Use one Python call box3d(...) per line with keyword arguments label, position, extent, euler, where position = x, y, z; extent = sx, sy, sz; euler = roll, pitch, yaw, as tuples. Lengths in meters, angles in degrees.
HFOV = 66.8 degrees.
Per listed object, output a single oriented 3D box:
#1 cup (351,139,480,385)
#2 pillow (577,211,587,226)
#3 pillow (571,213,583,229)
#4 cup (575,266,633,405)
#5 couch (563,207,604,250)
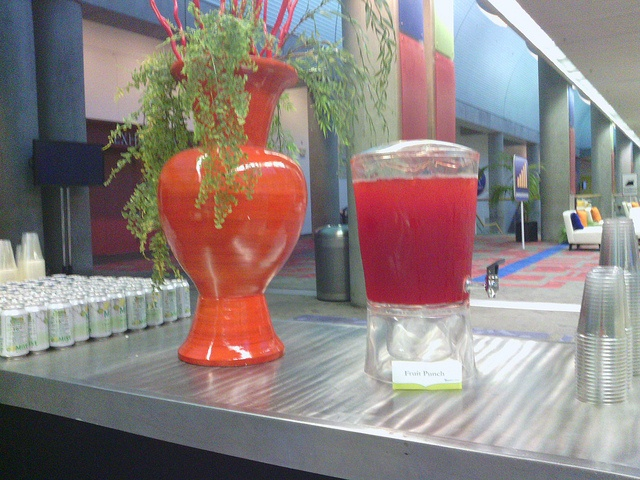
box3d(label="cup", position=(0.162, 0.027, 0.815), extent=(0.189, 0.385, 0.213), euler=(-2, 8, 10))
box3d(label="pillow", position=(5.007, -0.406, 9.314), extent=(0.075, 0.263, 0.199), euler=(-13, 11, 26))
box3d(label="pillow", position=(4.813, -0.362, 9.133), extent=(0.102, 0.245, 0.193), euler=(-6, 20, 23))
box3d(label="cup", position=(0.400, 0.137, 0.685), extent=(0.064, 0.180, 0.048), euler=(2, 7, 27))
box3d(label="couch", position=(4.750, -0.206, 8.816), extent=(0.626, 0.771, 0.758), euler=(1, 3, 19))
